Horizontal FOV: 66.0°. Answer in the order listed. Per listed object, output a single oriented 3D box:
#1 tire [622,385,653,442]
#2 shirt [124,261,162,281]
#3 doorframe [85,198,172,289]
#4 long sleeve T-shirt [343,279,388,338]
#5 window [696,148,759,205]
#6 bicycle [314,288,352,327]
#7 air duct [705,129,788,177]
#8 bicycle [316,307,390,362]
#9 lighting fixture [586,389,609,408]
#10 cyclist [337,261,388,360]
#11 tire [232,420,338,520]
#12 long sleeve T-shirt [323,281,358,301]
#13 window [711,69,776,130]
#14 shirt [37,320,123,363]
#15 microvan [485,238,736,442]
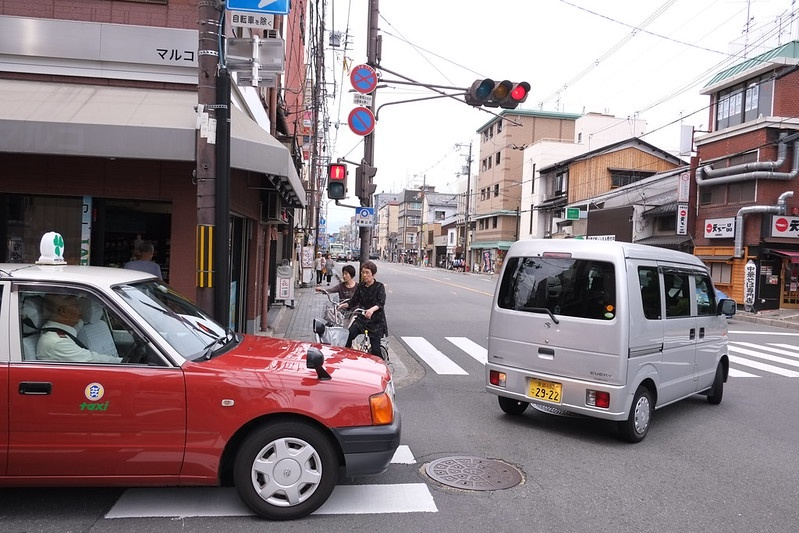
[{"bbox_3d":[3.338,2.053,8.643,0.219,0.714,0.693,1,-16,40],"label":"tire"},{"bbox_3d":[-3.673,0.069,8.776,0.277,0.207,0.152,1,-7,-11],"label":"shirt"},{"bbox_3d":[-4.569,-0.432,10.216,1.426,1.722,0.159,-3,11,-36],"label":"doorframe"},{"bbox_3d":[-0.576,0.760,11.155,0.672,0.969,0.617,3,5,9],"label":"long sleeve T-shirt"},{"bbox_3d":[14.620,-3.703,27.430,3.157,2.254,0.217,-9,13,-16],"label":"window"},{"bbox_3d":[-1.353,0.855,12.611,0.711,0.690,1.037,6,12,2],"label":"bicycle"},{"bbox_3d":[14.495,-4.571,26.138,3.835,1.421,0.563,-6,18,5],"label":"air duct"},{"bbox_3d":[-0.853,1.267,11.109,0.944,1.002,1.511,19,14,8],"label":"bicycle"},{"bbox_3d":[2.731,1.813,8.447,0.197,0.239,0.334,2,-1,-43],"label":"lighting fixture"},{"bbox_3d":[-0.640,0.856,11.152,0.802,1.808,1.030,4,9,-1],"label":"cyclist"},{"bbox_3d":[-1.243,2.140,6.598,0.804,0.835,0.289,25,-2,-4],"label":"tire"},{"bbox_3d":[-1.124,0.498,11.900,0.526,0.229,0.357,8,20,42],"label":"long sleeve T-shirt"},{"bbox_3d":[15.532,-7.360,27.675,3.242,1.998,0.109,-20,28,-11],"label":"window"},{"bbox_3d":[-3.527,0.891,6.653,0.659,0.269,0.489,14,15,-22],"label":"shirt"},{"bbox_3d":[3.329,1.003,9.351,3.685,2.803,1.727,-2,8,-26],"label":"microvan"}]
